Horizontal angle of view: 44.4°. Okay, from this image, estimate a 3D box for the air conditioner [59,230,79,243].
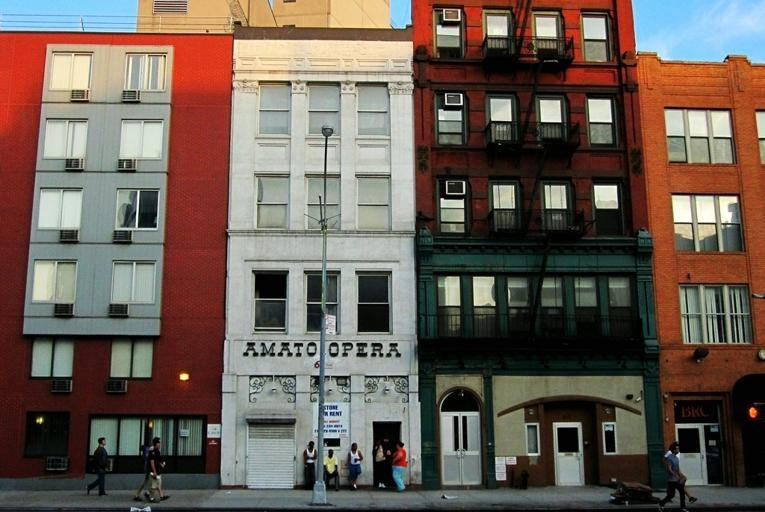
[{"bbox_3d":[-16.356,-0.981,48.935,1.126,0.598,0.773,2,-3,-9],"label":"air conditioner"}]

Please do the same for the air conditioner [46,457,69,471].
[{"bbox_3d":[-16.322,10.514,46.950,1.187,0.652,0.809,4,-6,-12],"label":"air conditioner"}]

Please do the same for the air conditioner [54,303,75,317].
[{"bbox_3d":[-16.357,2.870,48.434,1.180,0.959,0.636,1,-6,1],"label":"air conditioner"}]

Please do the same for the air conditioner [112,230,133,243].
[{"bbox_3d":[-13.535,-0.959,48.848,1.116,0.749,0.609,2,1,4],"label":"air conditioner"}]

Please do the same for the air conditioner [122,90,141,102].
[{"bbox_3d":[-13.389,-8.448,49.837,1.053,0.708,0.547,3,6,4],"label":"air conditioner"}]

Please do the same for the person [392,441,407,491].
[{"bbox_3d":[0.840,10.598,46.966,0.760,2.434,1.466,-1,-11,1],"label":"person"}]

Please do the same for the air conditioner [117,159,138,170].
[{"bbox_3d":[-13.486,-4.736,49.317,1.064,0.621,0.544,1,-1,3],"label":"air conditioner"}]

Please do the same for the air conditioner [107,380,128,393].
[{"bbox_3d":[-13.534,6.742,47.903,1.106,0.727,0.602,0,-9,0],"label":"air conditioner"}]

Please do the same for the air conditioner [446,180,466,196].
[{"bbox_3d":[3.850,-3.443,49.782,1.350,0.909,0.706,0,-7,1],"label":"air conditioner"}]

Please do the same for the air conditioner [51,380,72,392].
[{"bbox_3d":[-16.326,6.647,47.847,1.042,0.679,0.551,1,-4,-1],"label":"air conditioner"}]

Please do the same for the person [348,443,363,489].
[{"bbox_3d":[-1.388,10.648,47.146,0.723,2.248,0.725,0,-11,-3],"label":"person"}]

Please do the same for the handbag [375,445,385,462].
[{"bbox_3d":[-0.164,10.059,47.306,0.780,0.874,0.526,0,-15,-5],"label":"handbag"}]

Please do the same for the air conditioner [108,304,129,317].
[{"bbox_3d":[-13.586,2.882,48.222,1.078,0.732,0.601,0,-4,3],"label":"air conditioner"}]
